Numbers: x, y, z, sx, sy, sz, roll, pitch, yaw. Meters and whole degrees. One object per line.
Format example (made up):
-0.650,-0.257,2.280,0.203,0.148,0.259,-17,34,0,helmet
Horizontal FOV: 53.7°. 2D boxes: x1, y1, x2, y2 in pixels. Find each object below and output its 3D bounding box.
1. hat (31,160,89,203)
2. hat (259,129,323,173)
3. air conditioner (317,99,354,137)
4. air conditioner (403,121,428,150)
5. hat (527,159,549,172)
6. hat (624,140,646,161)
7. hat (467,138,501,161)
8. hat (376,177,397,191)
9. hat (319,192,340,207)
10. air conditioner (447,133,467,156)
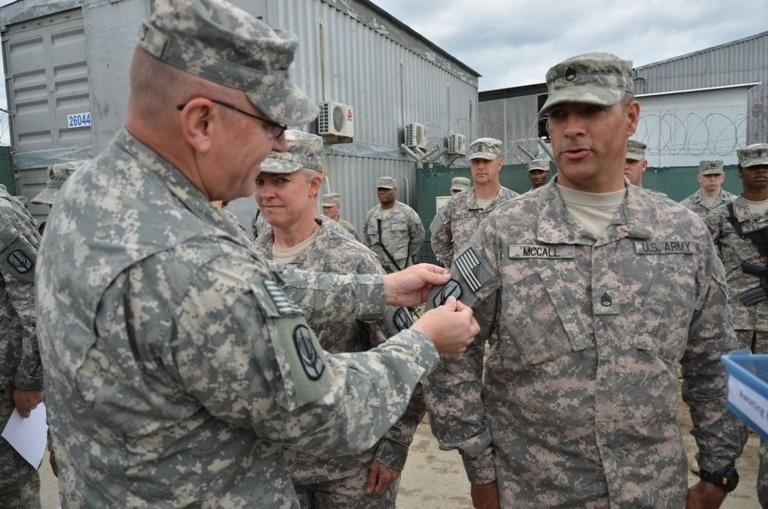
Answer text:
-3.092,-0.704,7.261,0.279,0.350,0.915,-16,17,-10,hat
-0.565,-0.667,4.877,0.282,0.130,0.409,6,12,24,hat
-0.590,-1.697,9.554,0.193,0.394,0.622,1,4,25,air conditioner
0.500,-1.871,11.893,0.186,0.336,0.517,0,3,23,air conditioner
2.066,-1.176,9.929,0.226,0.189,0.374,-1,0,19,hat
2.573,-1.046,7.640,0.142,0.226,0.427,-1,0,25,hat
1.196,-1.213,8.735,0.340,0.285,0.419,-1,0,3,hat
0.084,-0.970,10.313,0.185,0.126,0.242,0,-3,21,hat
-0.637,-0.683,9.339,0.199,0.107,0.152,-4,7,-5,hat
1.400,-2.016,13.942,0.346,0.542,0.612,1,4,23,air conditioner
